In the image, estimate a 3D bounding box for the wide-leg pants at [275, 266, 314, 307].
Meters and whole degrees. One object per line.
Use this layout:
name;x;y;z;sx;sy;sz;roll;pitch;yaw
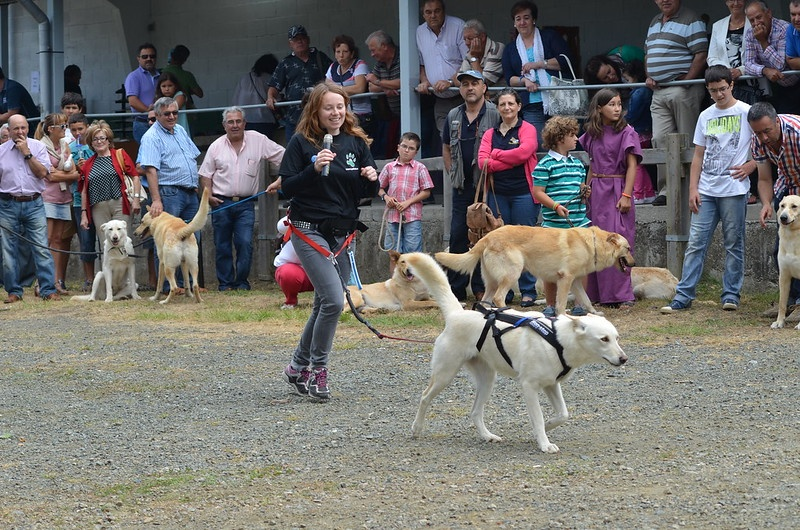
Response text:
wide-leg pants;-1.465;0.227;19.479;0.562;0.289;0.634;7;-30;2

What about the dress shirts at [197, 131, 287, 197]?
dress shirts;-2.358;-1.456;21.245;1.616;0.917;0.568;-1;0;-13

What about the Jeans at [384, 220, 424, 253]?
Jeans;0.020;-0.402;20.006;0.508;0.404;0.268;0;-8;24

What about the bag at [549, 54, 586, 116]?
bag;2.317;-2.467;20.033;0.569;0.898;0.673;1;6;25

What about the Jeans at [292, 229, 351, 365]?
Jeans;-0.887;0.352;15.614;0.662;1.516;0.346;-2;6;-3

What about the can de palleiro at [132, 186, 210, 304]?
can de palleiro;-3.195;-0.269;20.416;0.743;1.573;1.646;-3;6;-17

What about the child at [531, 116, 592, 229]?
child;2.035;-1.191;18.478;0.710;1.400;0.487;-1;6;6

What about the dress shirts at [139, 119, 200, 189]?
dress shirts;-3.407;-1.580;21.001;0.745;1.036;1.292;-1;3;38
